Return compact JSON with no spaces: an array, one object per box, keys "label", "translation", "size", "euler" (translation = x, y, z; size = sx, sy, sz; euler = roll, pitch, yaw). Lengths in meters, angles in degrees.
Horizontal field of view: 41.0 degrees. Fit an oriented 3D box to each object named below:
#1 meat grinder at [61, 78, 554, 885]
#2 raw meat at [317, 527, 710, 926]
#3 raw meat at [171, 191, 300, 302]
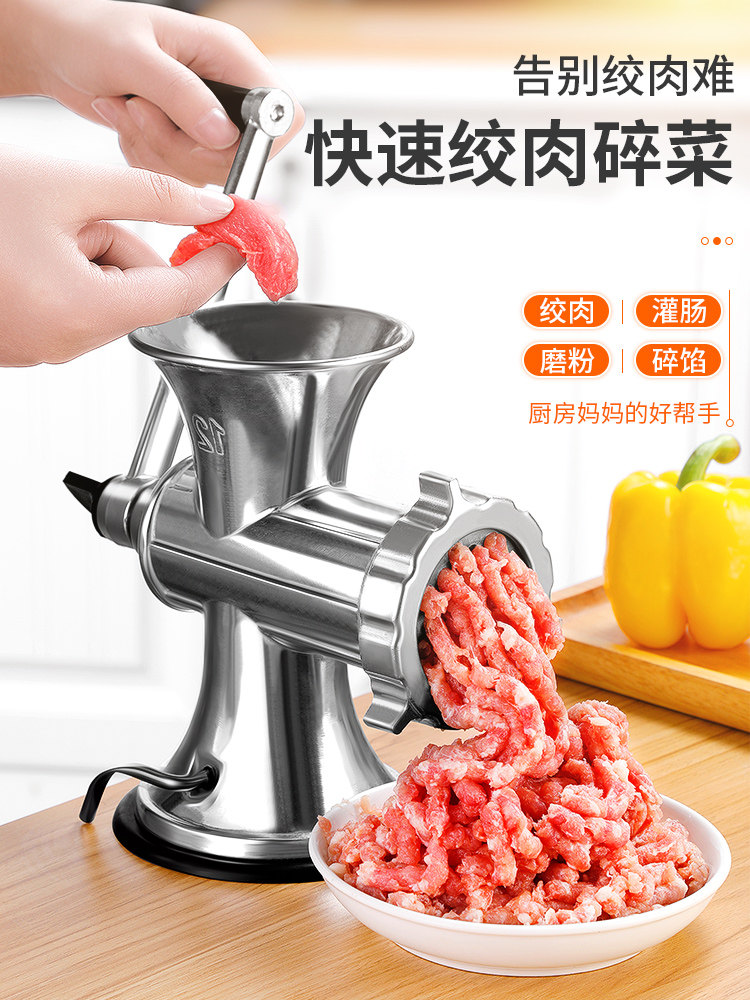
[{"label":"meat grinder","translation":[-0.058,-0.015,0.658],"size":[0.343,0.478,0.264],"euler":[15,18,41]},{"label":"raw meat","translation":[0.107,0.088,0.588],"size":[0.230,0.195,0.196],"euler":[-8,13,-18]},{"label":"raw meat","translation":[-0.091,-0.151,0.612],"size":[0.093,0.061,0.058],"euler":[-1,9,10]}]
